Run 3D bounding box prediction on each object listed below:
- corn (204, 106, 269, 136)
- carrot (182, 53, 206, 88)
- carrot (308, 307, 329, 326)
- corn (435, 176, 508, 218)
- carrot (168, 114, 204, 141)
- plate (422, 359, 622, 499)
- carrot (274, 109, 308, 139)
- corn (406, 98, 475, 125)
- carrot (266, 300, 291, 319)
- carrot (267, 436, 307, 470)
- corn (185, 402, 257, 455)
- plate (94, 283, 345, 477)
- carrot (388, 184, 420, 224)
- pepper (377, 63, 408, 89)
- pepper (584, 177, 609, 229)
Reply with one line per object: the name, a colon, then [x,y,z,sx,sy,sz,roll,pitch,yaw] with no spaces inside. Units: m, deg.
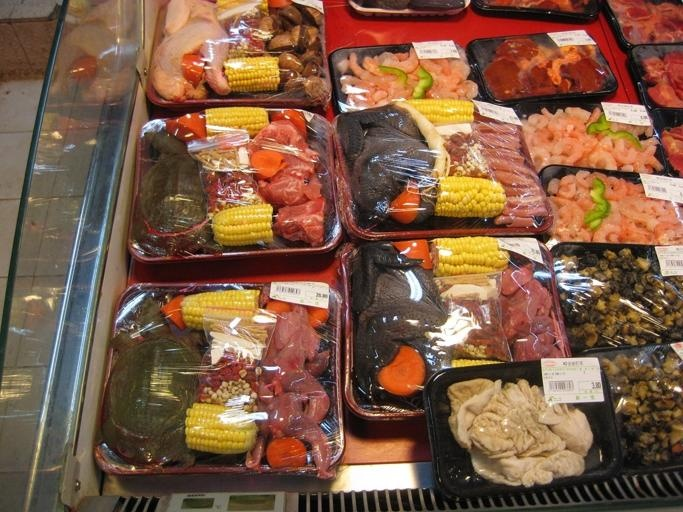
corn: [-0.556,-0.707,2.921,0.316,0.136,0.154,-1,83,-8]
carrot: [-0.802,-1.013,3.056,0.117,0.056,0.172,3,85,-6]
carrot: [-0.102,0.273,2.587,0.064,0.088,0.079,21,86,-13]
corn: [0.648,-0.292,2.821,0.360,0.137,0.163,3,65,-2]
carrot: [-0.799,-0.645,2.919,0.162,0.065,0.129,-18,69,-14]
plate: [0.728,0.670,2.241,0.765,0.098,0.489,-4,66,-5]
carrot: [-0.267,-0.690,2.985,0.060,0.156,0.124,-50,60,10]
corn: [0.492,-0.779,3.035,0.445,0.142,0.129,2,52,8]
carrot: [-0.284,0.234,2.511,0.061,0.082,0.035,17,106,0]
carrot: [-0.221,0.810,2.309,0.161,0.040,0.126,-2,66,-4]
corn: [-0.490,0.704,2.283,0.273,0.113,0.171,5,73,3]
plate: [-0.500,0.497,2.422,1.039,0.155,0.827,2,66,-2]
carrot: [0.327,-0.253,2.799,0.108,0.083,0.201,11,91,1]
pepper: [0.299,-1.036,3.268,0.162,0.045,0.101,18,65,-4]
pepper: [1.361,-0.268,2.962,0.119,0.054,0.297,20,66,6]
